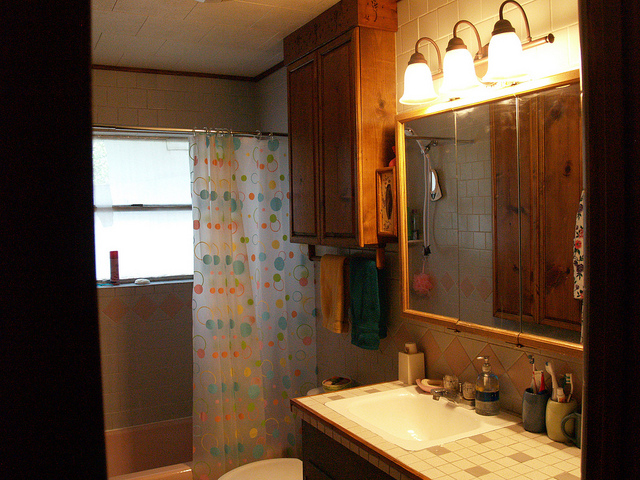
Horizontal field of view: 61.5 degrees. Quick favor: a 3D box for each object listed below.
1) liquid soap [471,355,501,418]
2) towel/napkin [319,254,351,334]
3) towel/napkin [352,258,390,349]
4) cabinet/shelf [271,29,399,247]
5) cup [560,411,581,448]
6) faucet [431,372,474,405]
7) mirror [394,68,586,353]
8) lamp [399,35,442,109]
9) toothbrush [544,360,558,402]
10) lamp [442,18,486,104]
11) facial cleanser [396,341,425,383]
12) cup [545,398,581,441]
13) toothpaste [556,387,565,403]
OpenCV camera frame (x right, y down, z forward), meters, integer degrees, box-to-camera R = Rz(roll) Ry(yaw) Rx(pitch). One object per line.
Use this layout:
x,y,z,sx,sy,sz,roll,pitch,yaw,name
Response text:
0.591,0.518,1.916,0.083,0.170,0.077,-6,2,21,liquid soap
0.081,0.263,2.710,0.064,0.489,0.377,-1,3,-17,towel/napkin
0.194,0.287,2.528,0.232,0.380,0.172,-6,2,29,towel/napkin
0.084,-0.474,2.504,0.333,1.266,0.949,2,-5,-25,cabinet/shelf
0.755,0.562,1.608,0.047,0.084,0.068,-8,2,-37,cup
0.519,0.567,2.077,0.178,0.086,0.172,-7,2,31,faucet
0.574,-0.096,1.906,0.026,0.810,0.917,-1,0,-24,mirror
0.387,-0.651,2.063,0.136,0.269,0.161,-15,9,-38,lamp
0.721,0.441,1.681,0.027,0.127,0.020,-5,-12,18,toothbrush
0.500,-0.647,1.921,0.140,0.263,0.143,-7,-4,20,lamp
0.391,0.526,2.313,0.093,0.164,0.088,-5,6,-36,facial cleanser
0.726,0.544,1.646,0.080,0.125,0.119,3,-6,-36,cup
0.732,0.472,1.641,0.023,0.042,0.040,-5,0,-2,toothpaste
